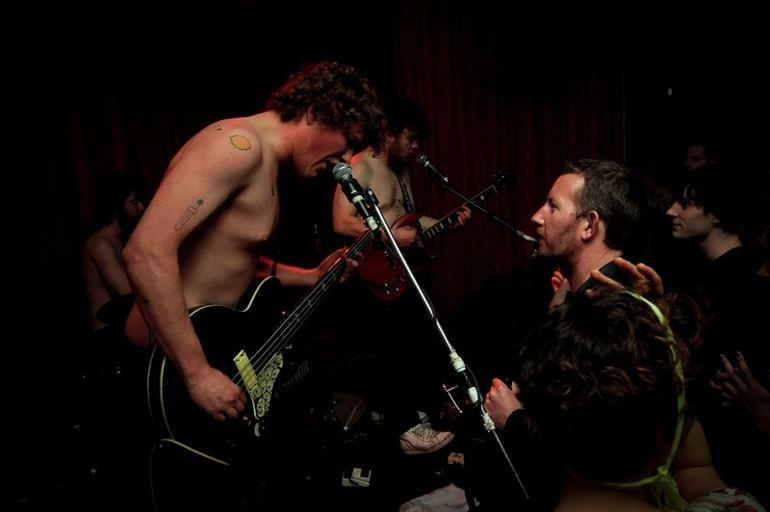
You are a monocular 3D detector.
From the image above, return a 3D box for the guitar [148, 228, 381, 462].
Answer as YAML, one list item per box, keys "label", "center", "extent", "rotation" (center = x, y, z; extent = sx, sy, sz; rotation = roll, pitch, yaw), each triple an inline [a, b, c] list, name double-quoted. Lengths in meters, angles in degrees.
- label: "guitar"
  center: [-0.693, 0.544, 3.584]
  extent: [0.235, 0.648, 1.552]
  rotation: [2, 36, 30]

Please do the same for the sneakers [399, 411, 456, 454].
- label: "sneakers"
  center: [0.274, 1.180, 4.143]
  extent: [0.329, 0.150, 0.183]
  rotation: [-14, 14, 26]

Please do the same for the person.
- label: "person"
  center: [0.155, 0.203, 3.926]
  extent: [3.219, 1.150, 0.431]
  rotation: [14, -4, -24]

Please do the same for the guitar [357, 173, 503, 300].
- label: "guitar"
  center: [0.486, -0.222, 4.869]
  extent: [1.498, 0.598, 0.201]
  rotation: [-34, 18, -8]
